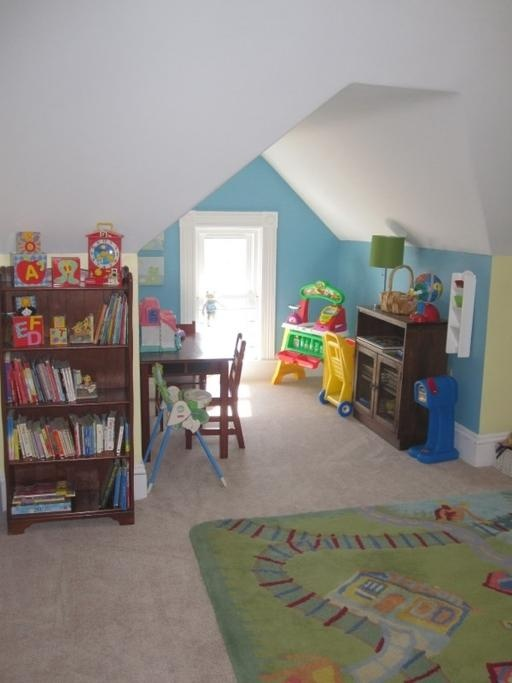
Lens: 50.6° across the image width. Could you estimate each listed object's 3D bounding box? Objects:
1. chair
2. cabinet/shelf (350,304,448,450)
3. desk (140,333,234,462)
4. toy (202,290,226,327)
[{"bbox_3d":[-0.392,0.343,4.621,0.878,0.786,1.131,-3,11,-10],"label":"chair"},{"bbox_3d":[1.266,0.330,4.715,0.456,1.021,1.153,-2,11,-12],"label":"cabinet/shelf"},{"bbox_3d":[-0.550,0.215,4.565,0.845,0.916,1.339,-2,11,-9],"label":"desk"},{"bbox_3d":[-0.512,-0.396,6.531,0.165,0.410,0.317,8,12,40],"label":"toy"}]
